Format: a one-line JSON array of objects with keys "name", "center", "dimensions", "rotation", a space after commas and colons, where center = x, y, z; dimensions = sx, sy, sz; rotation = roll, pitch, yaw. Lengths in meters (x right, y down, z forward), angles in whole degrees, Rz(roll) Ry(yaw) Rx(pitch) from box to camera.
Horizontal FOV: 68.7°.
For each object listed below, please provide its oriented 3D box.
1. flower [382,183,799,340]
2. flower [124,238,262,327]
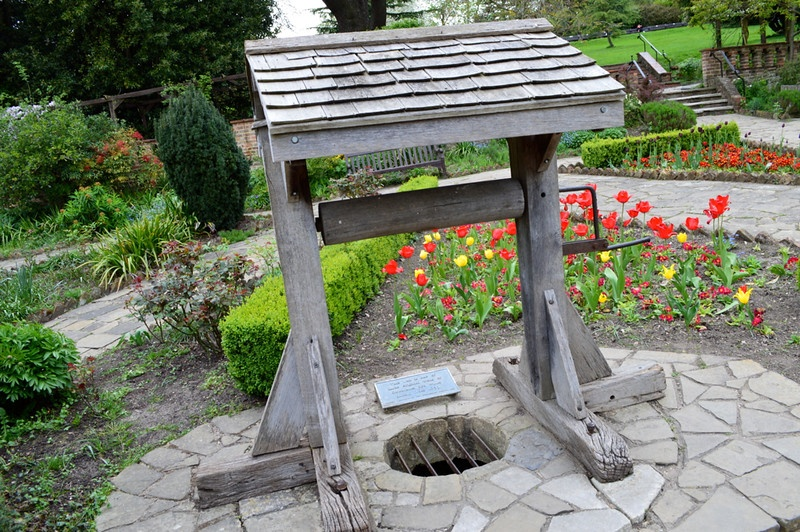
[{"name": "flower", "center": [1.999, 0.177, 6.383], "dimensions": [3.368, 0.793, 2.106], "rotation": [-12, 21, 3]}, {"name": "flower", "center": [-2.490, 0.215, 6.873], "dimensions": [0.786, 0.677, 0.810], "rotation": [8, 35, 33]}]
